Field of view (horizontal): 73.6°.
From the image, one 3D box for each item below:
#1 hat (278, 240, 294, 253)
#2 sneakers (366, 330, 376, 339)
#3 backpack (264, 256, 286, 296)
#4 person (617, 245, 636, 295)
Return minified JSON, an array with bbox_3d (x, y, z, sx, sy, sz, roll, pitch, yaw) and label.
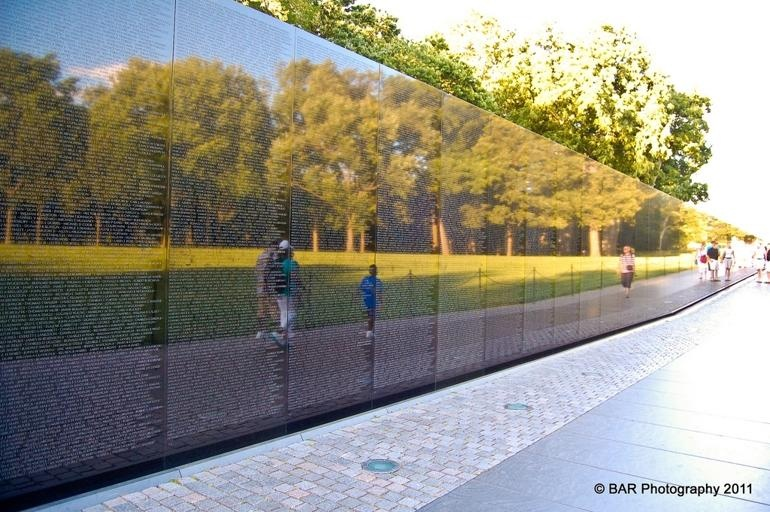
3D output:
[{"bbox_3d":[-1.353,-0.121,7.006,0.160,0.129,0.125,8,0,-4],"label":"hat"},{"bbox_3d":[-0.223,1.255,8.001,0.111,0.097,0.114,-1,-2,29],"label":"sneakers"},{"bbox_3d":[-1.470,0.314,6.925,0.098,0.390,0.455,3,6,18],"label":"backpack"},{"bbox_3d":[7.815,0.481,16.560,0.350,1.542,1.537,3,4,30],"label":"person"}]
